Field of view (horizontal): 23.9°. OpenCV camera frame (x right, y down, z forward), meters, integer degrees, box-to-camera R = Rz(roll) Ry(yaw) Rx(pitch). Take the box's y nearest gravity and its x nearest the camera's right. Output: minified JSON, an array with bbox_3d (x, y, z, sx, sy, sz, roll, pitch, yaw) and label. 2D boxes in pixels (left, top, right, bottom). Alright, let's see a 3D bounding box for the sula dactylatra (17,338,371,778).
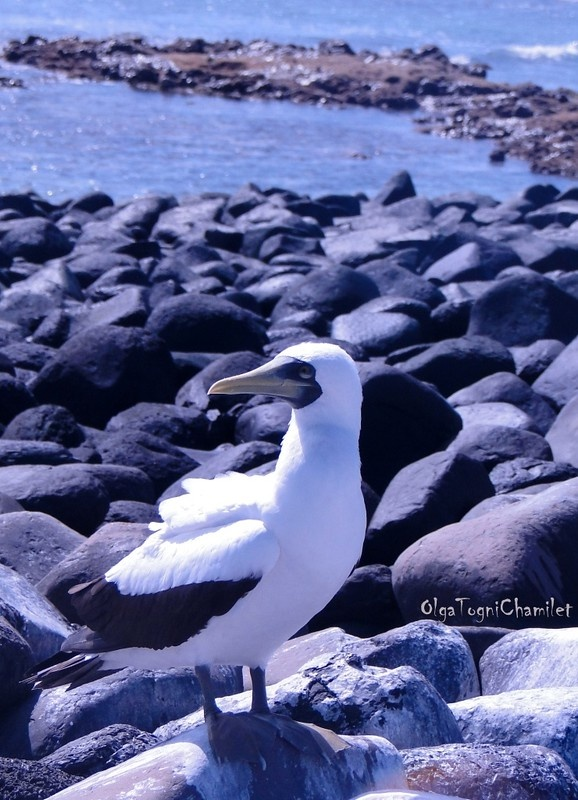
[{"bbox_3d":[-0.404,0.633,6.003,1.872,1.557,0.985,-6,-4,36],"label":"sula dactylatra"}]
